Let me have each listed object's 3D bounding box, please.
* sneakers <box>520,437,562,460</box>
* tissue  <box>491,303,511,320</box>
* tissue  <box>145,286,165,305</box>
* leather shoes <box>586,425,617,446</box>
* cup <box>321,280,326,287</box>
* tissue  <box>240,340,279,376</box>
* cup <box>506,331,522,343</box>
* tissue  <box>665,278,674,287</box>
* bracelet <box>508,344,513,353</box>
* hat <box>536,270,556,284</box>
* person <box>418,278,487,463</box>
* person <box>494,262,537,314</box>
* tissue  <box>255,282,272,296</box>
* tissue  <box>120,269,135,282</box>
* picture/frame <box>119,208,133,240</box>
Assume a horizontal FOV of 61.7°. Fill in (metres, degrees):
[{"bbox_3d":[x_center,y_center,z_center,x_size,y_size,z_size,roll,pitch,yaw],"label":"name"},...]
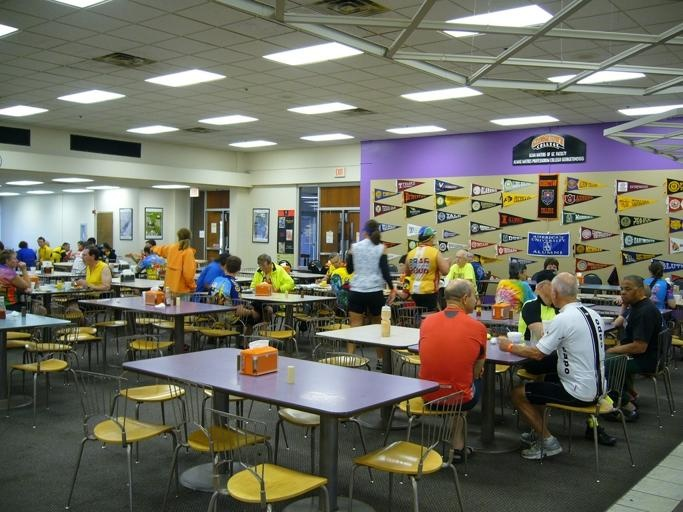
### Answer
[{"bbox_3d":[1.835,1.827,5.485,0.511,0.184,0.165,-3,-4,-2],"label":"sneakers"},{"bbox_3d":[1.812,0.623,6.511,0.196,0.164,0.205,0,1,39],"label":"tissue "},{"bbox_3d":[-2.491,0.533,7.758,0.359,0.196,0.223,-1,-2,40],"label":"tissue "},{"bbox_3d":[2.662,1.833,5.933,0.166,0.160,0.437,-1,-3,-27],"label":"leather shoes"},{"bbox_3d":[-0.346,0.524,10.966,0.124,0.104,0.107,1,-1,-7],"label":"cup"},{"bbox_3d":[-0.694,0.810,4.687,0.239,0.233,0.334,-8,-5,30],"label":"tissue "},{"bbox_3d":[1.667,0.770,5.513,0.129,0.074,0.111,-1,-4,-4],"label":"cup"},{"bbox_3d":[5.665,0.445,9.883,0.119,0.113,0.307,-5,8,14],"label":"tissue "},{"bbox_3d":[1.551,0.834,5.258,0.051,0.058,0.068,-13,8,22],"label":"bracelet"},{"bbox_3d":[2.350,0.243,6.556,0.250,0.071,0.158,-14,9,-20],"label":"hat"},{"bbox_3d":[0.910,1.068,4.877,0.564,1.693,0.819,4,7,18],"label":"person"},{"bbox_3d":[2.293,0.424,7.497,0.519,0.646,0.558,-9,13,-22],"label":"person"},{"bbox_3d":[-1.232,0.520,8.907,0.246,0.140,0.213,0,-2,3],"label":"tissue "},{"bbox_3d":[-4.162,0.371,11.088,0.237,0.173,0.224,0,-1,30],"label":"tissue "},{"bbox_3d":[-7.307,-1.085,19.357,0.974,1.081,0.043,4,5,43],"label":"picture/frame"}]
